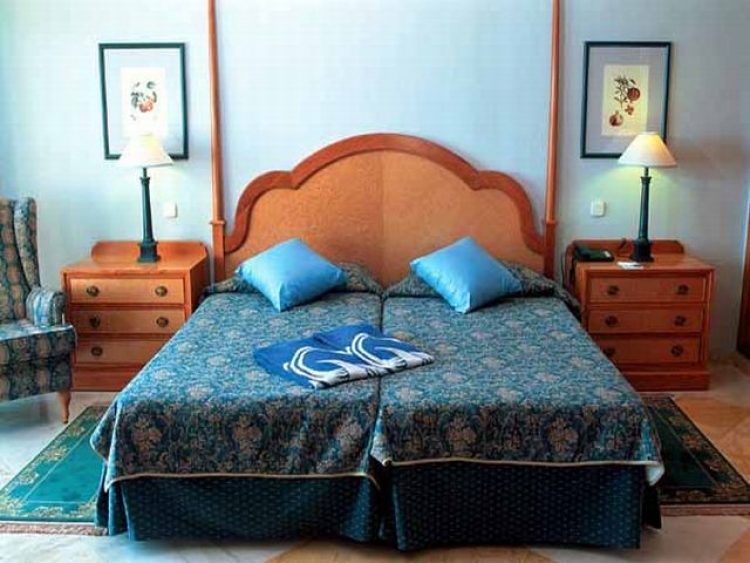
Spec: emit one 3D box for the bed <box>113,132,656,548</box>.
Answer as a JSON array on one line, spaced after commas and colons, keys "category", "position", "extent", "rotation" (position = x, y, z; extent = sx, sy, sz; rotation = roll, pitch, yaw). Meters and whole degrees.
[{"category": "bed", "position": [0.099, 0.428, 3.949], "extent": [2.350, 1.552, 2.359], "rotation": [1, 19, 4]}]
